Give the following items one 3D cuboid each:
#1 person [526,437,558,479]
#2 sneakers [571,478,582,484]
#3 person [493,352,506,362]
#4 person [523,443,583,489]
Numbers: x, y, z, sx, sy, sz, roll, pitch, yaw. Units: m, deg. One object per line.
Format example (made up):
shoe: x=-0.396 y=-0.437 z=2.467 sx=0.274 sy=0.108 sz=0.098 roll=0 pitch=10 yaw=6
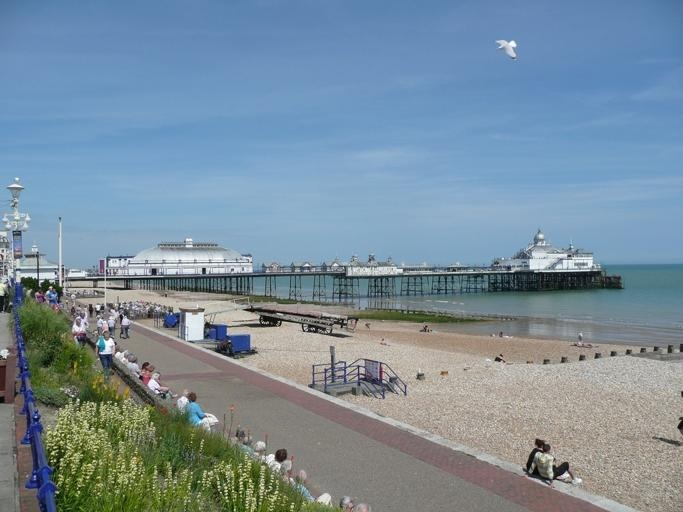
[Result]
person: x=4.656 y=4.727 z=17.545 sx=0.654 sy=0.840 sz=0.797 roll=4 pitch=6 yaw=25
sneakers: x=5.695 y=5.471 z=18.200 sx=0.286 sy=0.126 sz=0.115 roll=-6 pitch=3 yaw=-24
person: x=7.267 y=4.656 z=34.313 sx=0.451 sy=0.502 sz=0.719 roll=1 pitch=-10 yaw=3
person: x=5.116 y=4.867 z=17.813 sx=1.552 sy=0.943 sz=0.668 roll=9 pitch=-1 yaw=-38
